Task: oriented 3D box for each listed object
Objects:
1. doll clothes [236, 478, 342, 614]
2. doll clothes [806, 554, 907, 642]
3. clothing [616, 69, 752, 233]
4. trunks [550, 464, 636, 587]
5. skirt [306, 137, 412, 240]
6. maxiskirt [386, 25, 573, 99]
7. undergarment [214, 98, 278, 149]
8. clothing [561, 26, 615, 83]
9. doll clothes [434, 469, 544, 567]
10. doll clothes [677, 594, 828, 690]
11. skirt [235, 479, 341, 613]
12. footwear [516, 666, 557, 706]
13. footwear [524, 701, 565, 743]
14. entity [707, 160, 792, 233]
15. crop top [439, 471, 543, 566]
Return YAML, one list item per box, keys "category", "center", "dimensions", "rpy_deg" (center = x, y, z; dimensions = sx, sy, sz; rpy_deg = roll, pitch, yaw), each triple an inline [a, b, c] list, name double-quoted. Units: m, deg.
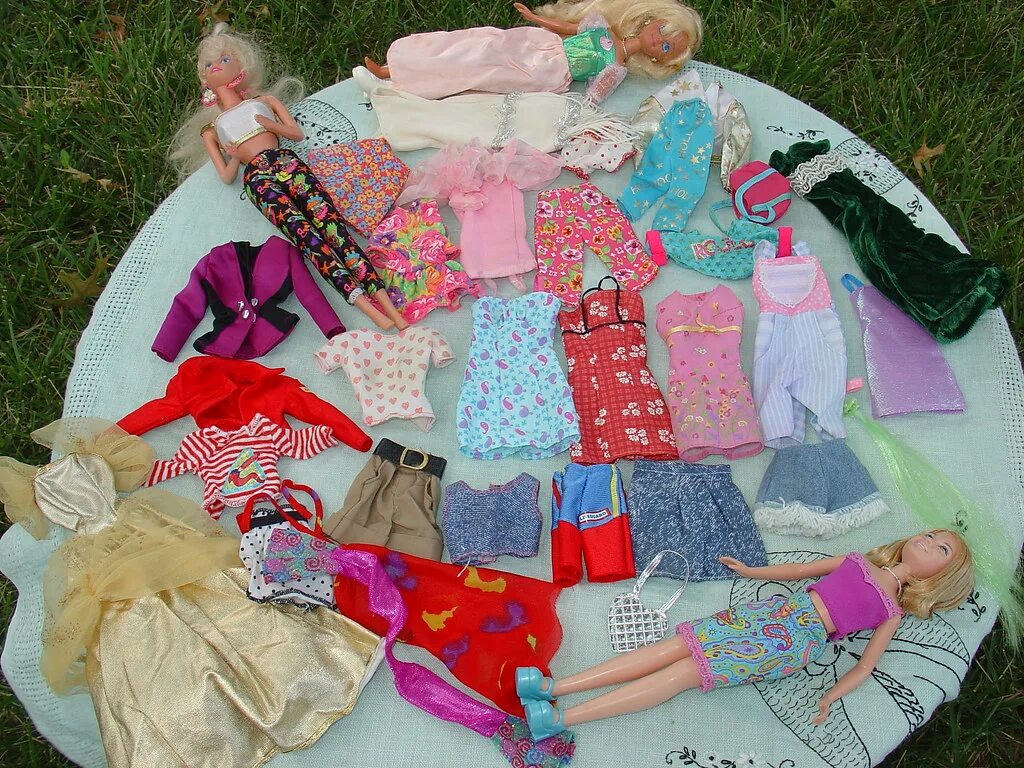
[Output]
- category: "doll clothes"
  center: [-1.263, 0.894, 4.885]
  dimensions: [0.584, 0.155, 0.858]
  rpy_deg: [-15, 58, -28]
- category: "doll clothes"
  center: [1.895, 1.195, 4.845]
  dimensions: [0.315, 0.195, 0.316]
  rpy_deg: [-21, 59, -6]
- category: "clothing"
  center: [1.136, -1.525, 5.829]
  dimensions: [0.747, 0.196, 1.126]
  rpy_deg: [19, 81, 4]
- category: "trunks"
  center: [0.447, 0.784, 4.934]
  dimensions: [0.434, 0.187, 0.651]
  rpy_deg: [-3, 75, 1]
- category: "skirt"
  center: [-0.976, -1.299, 5.633]
  dimensions: [0.607, 0.128, 0.623]
  rpy_deg: [44, 78, 7]
- category: "maxiskirt"
  center: [-0.242, -2.187, 5.993]
  dimensions: [1.027, 0.270, 0.600]
  rpy_deg: [-1, 94, 0]
- category: "undergarment"
  center: [-1.723, -1.684, 5.741]
  dimensions: [0.240, 0.131, 0.233]
  rpy_deg: [-33, 77, -10]
- category: "clothing"
  center: [0.521, -2.230, 5.992]
  dimensions: [0.306, 0.177, 0.255]
  rpy_deg: [-23, 99, -8]
- category: "doll clothes"
  center: [-0.109, 0.774, 5.057]
  dimensions: [0.444, 0.165, 0.496]
  rpy_deg: [-2, 69, -6]
- category: "doll clothes"
  center: [1.317, 1.409, 4.826]
  dimensions: [0.697, 0.244, 0.449]
  rpy_deg: [-11, 67, -5]
- category: "skirt"
  center: [-1.253, 0.863, 4.934]
  dimensions: [0.506, 0.110, 0.829]
  rpy_deg: [4, 55, -28]
- category: "footwear"
  center: [0.117, 1.603, 4.701]
  dimensions: [0.194, 0.127, 0.182]
  rpy_deg: [-3, 68, 0]
- category: "footwear"
  center: [0.173, 1.774, 4.686]
  dimensions: [0.192, 0.155, 0.204]
  rpy_deg: [-14, 68, -5]
- category: "entity"
  center: [1.512, -1.141, 5.702]
  dimensions: [0.505, 0.191, 0.527]
  rpy_deg: [-2, 76, -7]
- category: "crop top"
  center: [-0.081, 0.791, 5.231]
  dimensions: [0.739, 0.662, 0.222]
  rpy_deg: [9, 48, -31]
